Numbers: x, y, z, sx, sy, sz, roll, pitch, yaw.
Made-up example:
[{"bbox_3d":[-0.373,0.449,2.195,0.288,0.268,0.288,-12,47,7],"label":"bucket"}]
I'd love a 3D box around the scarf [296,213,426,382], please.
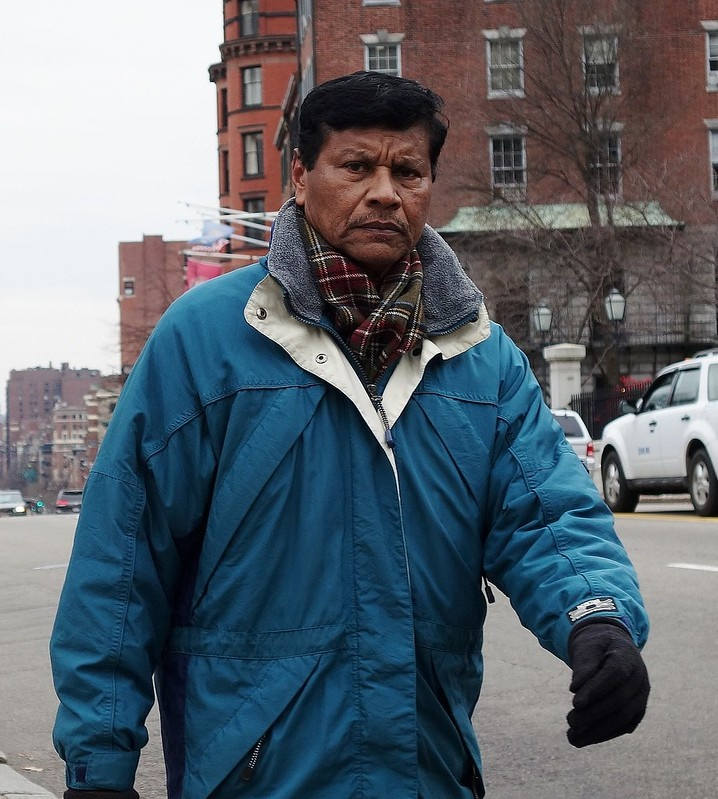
[{"bbox_3d":[0.003,-0.188,2.220,0.202,0.308,0.103,-6,-15,-32],"label":"scarf"}]

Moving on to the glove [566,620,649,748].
[{"bbox_3d":[0.372,0.432,1.743,0.122,0.189,0.165,-1,1,13],"label":"glove"}]
